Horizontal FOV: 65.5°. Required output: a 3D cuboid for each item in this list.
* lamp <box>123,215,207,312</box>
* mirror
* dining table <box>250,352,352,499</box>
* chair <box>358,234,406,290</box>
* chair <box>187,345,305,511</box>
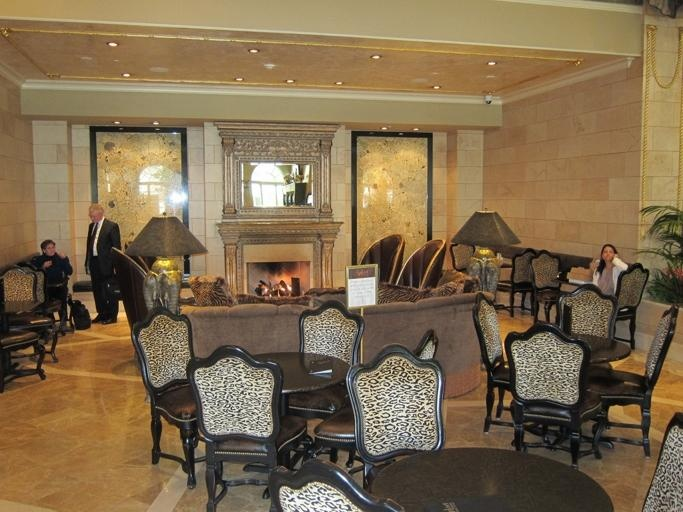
[{"bbox_3d":[-1.779,0.108,5.400,0.628,1.019,0.523,-8,14,-34],"label":"lamp"},{"bbox_3d":[-1.345,-1.409,10.394,1.505,0.747,0.063,1,-1,-15],"label":"mirror"},{"bbox_3d":[-0.263,1.341,4.388,1.119,0.620,1.013,1,1,4],"label":"dining table"},{"bbox_3d":[0.612,-0.010,9.608,0.824,0.948,0.955,1,2,40],"label":"chair"},{"bbox_3d":[-0.635,1.194,3.847,0.681,1.347,0.613,1,12,6],"label":"chair"}]
